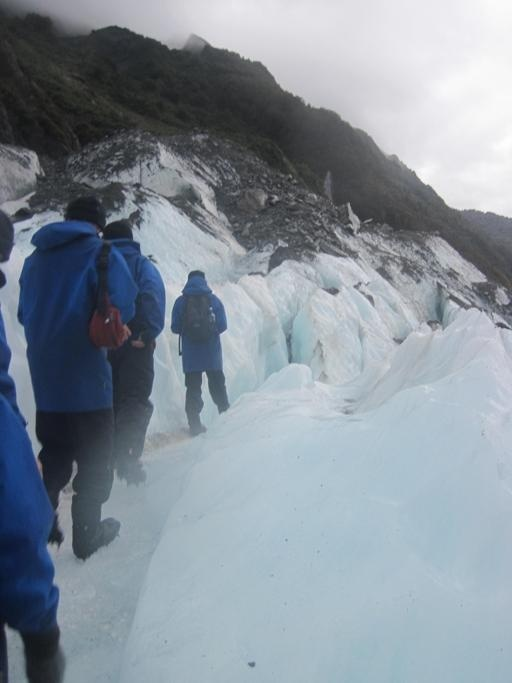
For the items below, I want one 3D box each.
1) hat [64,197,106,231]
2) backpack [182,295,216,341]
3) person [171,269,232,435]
[{"bbox_3d":[-0.686,-0.509,2.112,0.098,0.177,0.150,0,3,3],"label":"hat"},{"bbox_3d":[-0.396,-0.166,3.895,0.266,0.535,0.238,0,0,-2],"label":"backpack"},{"bbox_3d":[-0.410,0.105,3.939,0.452,1.178,0.389,1,18,-13],"label":"person"}]
